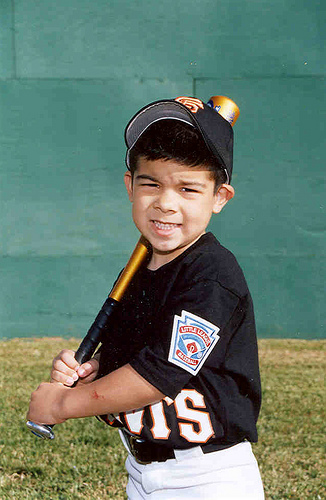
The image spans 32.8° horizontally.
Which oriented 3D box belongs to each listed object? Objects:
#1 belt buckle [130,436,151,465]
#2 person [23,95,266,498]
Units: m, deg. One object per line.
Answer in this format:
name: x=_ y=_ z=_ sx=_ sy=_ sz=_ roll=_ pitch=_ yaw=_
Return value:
belt buckle: x=-0.075 y=0.605 z=1.650 sx=0.090 sy=0.092 sz=0.023 roll=-2 pitch=1 yaw=0
person: x=-0.007 y=0.198 z=1.640 sx=0.598 sy=1.313 sz=0.537 roll=8 pitch=12 yaw=34
